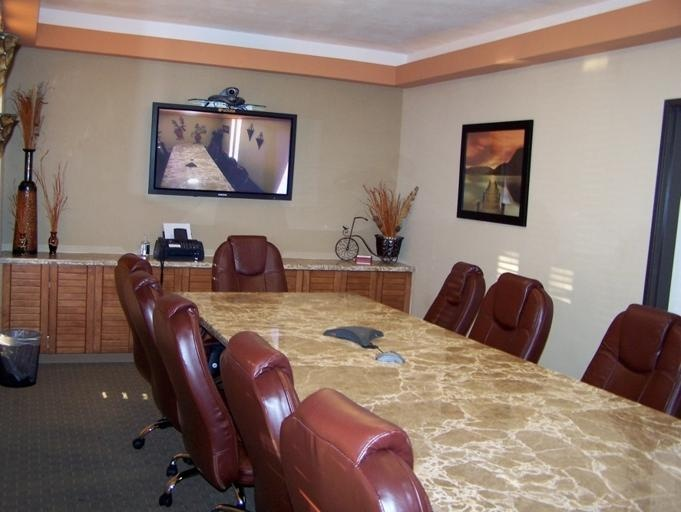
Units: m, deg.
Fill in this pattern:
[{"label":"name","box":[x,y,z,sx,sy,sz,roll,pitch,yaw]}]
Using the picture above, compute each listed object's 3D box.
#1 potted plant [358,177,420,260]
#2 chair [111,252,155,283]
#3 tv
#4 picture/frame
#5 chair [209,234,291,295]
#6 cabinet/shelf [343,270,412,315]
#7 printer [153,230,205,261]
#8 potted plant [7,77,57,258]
[{"label":"potted plant","box":[0.600,-0.429,6.091,0.496,0.991,0.578,1,7,-26]},{"label":"chair","box":[-1.227,0.049,2.914,0.172,0.228,0.232,0,1,-29]},{"label":"tv","box":[-1.427,-1.224,5.520,1.129,0.743,0.042,2,4,-17]},{"label":"picture/frame","box":[1.536,-0.844,4.872,0.064,1.000,0.936,1,7,-28]},{"label":"chair","box":[-0.841,0.041,4.392,0.465,0.699,0.618,-1,5,-21]},{"label":"cabinet/shelf","box":[0.439,0.347,5.951,0.772,0.773,0.487,-1,6,-16]},{"label":"printer","box":[-1.726,-0.092,5.190,0.393,0.296,0.295,1,3,-25]},{"label":"potted plant","box":[-3.170,-0.906,4.900,0.291,1.750,0.491,1,7,-27]}]
